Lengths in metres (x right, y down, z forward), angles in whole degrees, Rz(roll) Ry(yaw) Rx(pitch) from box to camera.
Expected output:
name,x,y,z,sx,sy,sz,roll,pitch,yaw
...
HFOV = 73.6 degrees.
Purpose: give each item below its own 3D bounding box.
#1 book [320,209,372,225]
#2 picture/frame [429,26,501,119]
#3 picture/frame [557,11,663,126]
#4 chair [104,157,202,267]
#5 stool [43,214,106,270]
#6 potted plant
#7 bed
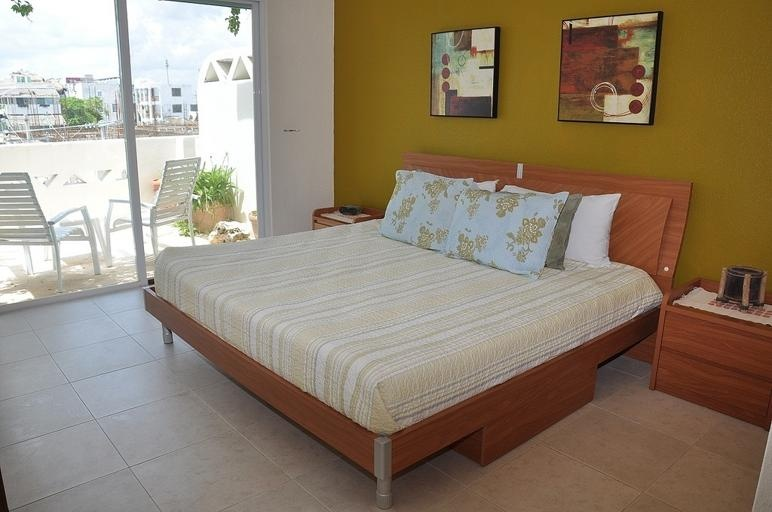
name,x,y,z,sx,sy,sz,roll,pitch,yaw
book,-0.388,-0.408,5.493,0.274,0.078,0.290,-10,18,-43
picture/frame,0.731,-1.661,4.627,0.850,0.846,0.092,12,17,44
picture/frame,1.716,-1.422,3.881,0.820,0.819,0.084,19,22,38
chair,-2.361,-0.488,5.224,0.710,1.033,0.814,-15,-8,29
stool,-2.896,-0.145,4.752,0.399,0.453,0.416,-9,-4,26
potted plant,-1.911,-0.556,5.624,0.548,0.586,0.471,-9,9,-35
bed,0.441,0.229,3.692,2.920,1.588,2.192,-13,22,-40
